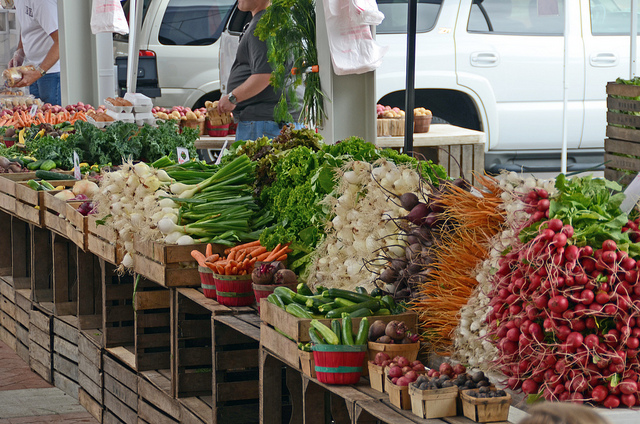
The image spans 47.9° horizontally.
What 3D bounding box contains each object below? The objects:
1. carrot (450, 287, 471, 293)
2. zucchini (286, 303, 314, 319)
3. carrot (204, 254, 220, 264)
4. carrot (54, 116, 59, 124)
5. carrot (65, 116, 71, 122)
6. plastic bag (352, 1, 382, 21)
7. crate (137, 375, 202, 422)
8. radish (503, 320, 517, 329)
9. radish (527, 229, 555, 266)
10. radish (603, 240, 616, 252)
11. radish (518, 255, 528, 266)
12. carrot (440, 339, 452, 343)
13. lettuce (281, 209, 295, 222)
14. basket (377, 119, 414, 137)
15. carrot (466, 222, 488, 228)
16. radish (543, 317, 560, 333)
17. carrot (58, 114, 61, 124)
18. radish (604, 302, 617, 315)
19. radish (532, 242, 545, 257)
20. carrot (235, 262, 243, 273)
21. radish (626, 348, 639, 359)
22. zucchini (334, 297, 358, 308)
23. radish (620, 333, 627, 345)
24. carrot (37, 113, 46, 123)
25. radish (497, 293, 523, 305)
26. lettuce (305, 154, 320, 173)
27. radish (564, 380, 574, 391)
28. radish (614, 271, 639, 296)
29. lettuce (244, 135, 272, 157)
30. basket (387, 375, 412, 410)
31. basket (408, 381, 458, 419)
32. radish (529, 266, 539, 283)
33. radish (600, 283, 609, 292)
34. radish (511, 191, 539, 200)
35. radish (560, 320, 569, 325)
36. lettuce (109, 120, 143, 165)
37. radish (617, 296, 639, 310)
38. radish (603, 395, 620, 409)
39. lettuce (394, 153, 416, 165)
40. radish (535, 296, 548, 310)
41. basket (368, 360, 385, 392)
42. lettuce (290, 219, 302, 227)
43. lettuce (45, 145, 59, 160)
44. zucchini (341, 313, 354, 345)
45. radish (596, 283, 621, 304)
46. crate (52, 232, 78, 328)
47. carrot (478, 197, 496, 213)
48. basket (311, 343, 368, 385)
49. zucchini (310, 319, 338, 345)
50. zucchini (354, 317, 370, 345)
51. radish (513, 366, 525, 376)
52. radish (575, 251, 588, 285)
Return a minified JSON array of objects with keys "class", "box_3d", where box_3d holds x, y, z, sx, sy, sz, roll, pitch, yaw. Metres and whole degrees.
[{"class":"carrot","box_3d":[0.689,0.375,3.496,0.087,0.026,0.017,3,7,2]},{"class":"zucchini","box_3d":[-0.106,0.474,3.509,0.146,0.045,0.051,25,-20,22]},{"class":"carrot","box_3d":[-0.641,0.274,4.201,0.097,0.031,0.028,-24,35,-24]},{"class":"carrot","box_3d":[-3.044,-1.058,8.223,0.041,0.079,0.069,-2,8,-33]},{"class":"carrot","box_3d":[-2.924,-1.072,8.233,0.079,0.081,0.032,8,-5,36]},{"class":"plastic bag","box_3d":[0.340,-1.541,5.560,0.145,0.036,0.139,1,42,-35]},{"class":"crate","box_3d":[-0.948,1.181,4.559,0.327,0.134,0.132,21,-10,15]},{"class":"radish","box_3d":[0.831,0.488,3.135,0.022,0.040,0.054,-2,8,-36]},{"class":"radish","box_3d":[0.950,0.156,3.107,0.068,0.151,0.053,20,-1,22]},{"class":"radish","box_3d":[1.224,0.140,3.030,0.040,0.043,0.049,-7,-24,15]},{"class":"radish","box_3d":[0.881,0.209,3.118,0.037,0.031,0.042,8,13,23]},{"class":"carrot","box_3d":[0.624,0.631,3.520,0.055,0.015,0.025,8,8,39]},{"class":"lettuce","box_3d":[-0.199,0.015,4.365,0.065,0.066,0.031,0,-2,26]},{"class":"basket","box_3d":[0.729,-0.822,6.975,0.342,0.157,0.178,1,2,-3]},{"class":"carrot","box_3d":[0.771,0.063,3.526,0.099,0.035,0.028,5,7,13]},{"class":"radish","box_3d":[0.969,0.477,3.025,0.063,0.048,0.048,-23,23,22]},{"class":"carrot","box_3d":[-3.007,-1.083,8.228,0.020,0.075,0.020,21,-40,-25]},{"class":"radish","box_3d":[1.208,0.402,2.984,0.040,0.049,0.041,0,-9,4]},{"class":"radish","box_3d":[0.932,0.150,3.071,0.032,0.068,0.035,45,-10,-27]},{"class":"carrot","box_3d":[-0.469,0.312,4.087,0.024,0.049,0.017,26,-22,-35]},{"class":"radish","box_3d":[1.303,0.585,2.990,0.019,0.025,0.047,-24,8,47]},{"class":"zucchini","box_3d":[0.122,0.440,3.563,0.120,0.037,0.038,12,11,-1]},{"class":"radish","box_3d":[1.265,0.521,2.981,0.024,0.032,0.018,2,-8,13]},{"class":"carrot","box_3d":[-3.256,-1.087,8.311,0.042,0.043,0.179,-11,35,-26]},{"class":"radish","box_3d":[0.832,0.377,3.151,0.112,0.058,0.032,8,9,40]},{"class":"lettuce","box_3d":[-0.055,-0.296,4.402,0.087,0.109,0.048,2,7,-6]},{"class":"radish","box_3d":[1.042,0.726,3.012,0.036,0.044,0.038,5,-20,12]},{"class":"radish","box_3d":[1.280,0.316,2.996,0.070,0.132,0.055,30,-25,34]},{"class":"lettuce","box_3d":[-0.433,-0.456,5.029,0.178,0.142,0.219,0,7,-21]},{"class":"basket","box_3d":[0.368,0.803,3.215,0.110,0.100,0.140,0,-1,-17]},{"class":"basket","box_3d":[0.500,0.814,3.136,0.157,0.101,0.135,0,-1,-14]},{"class":"radish","box_3d":[0.922,0.262,3.082,0.033,0.059,0.028,5,-5,2]},{"class":"radish","box_3d":[1.191,0.312,2.996,0.029,0.037,0.030,8,16,10]},{"class":"radish","box_3d":[0.941,-0.080,3.279,0.116,0.032,0.031,5,12,40]},{"class":"radish","box_3d":[1.029,0.463,3.016,0.021,0.026,0.021,-1,11,-23]},{"class":"lettuce","box_3d":[-1.805,-0.644,6.652,0.359,0.364,0.152,-8,2,-26]},{"class":"radish","box_3d":[1.282,0.377,2.993,0.085,0.055,0.019,1,7,-13]},{"class":"radish","box_3d":[1.217,0.789,2.993,0.058,0.046,0.044,-15,2,6]},{"class":"lettuce","box_3d":[0.484,-0.313,4.144,0.071,0.047,0.072,-1,6,-13]},{"class":"radish","box_3d":[0.940,0.382,3.037,0.048,0.059,0.050,-27,-45,26]},{"class":"basket","box_3d":[0.258,0.757,3.310,0.030,0.124,0.100,-2,8,-38]},{"class":"lettuce","box_3d":[-0.148,0.065,4.318,0.045,0.023,0.046,-13,36,-17]},{"class":"lettuce","box_3d":[-2.570,-0.569,6.786,0.160,0.128,0.081,8,8,36]},{"class":"zucchini","box_3d":[0.128,0.545,3.388,0.039,0.152,0.049,-1,-13,-9]},{"class":"radish","box_3d":[1.180,0.333,2.936,0.088,0.048,0.037,-27,-14,-7]},{"class":"crate","box_3d":[-2.076,0.454,5.763,0.169,0.551,0.300,-10,-11,35]},{"class":"carrot","box_3d":[0.814,-0.034,3.519,0.039,0.061,0.097,-2,8,-34]},{"class":"basket","box_3d":[0.086,0.709,3.374,0.269,0.194,0.076,3,7,-2]},{"class":"zucchini","box_3d":[0.013,0.553,3.415,0.054,0.053,0.178,-21,50,-39]},{"class":"zucchini","box_3d":[0.199,0.568,3.388,0.042,0.156,0.050,21,-12,-25]},{"class":"radish","box_3d":[0.864,0.690,3.107,0.036,0.044,0.037,11,-22,8]},{"class":"radish","box_3d":[1.101,0.251,3.014,0.050,0.099,0.038,6,7,22]}]
